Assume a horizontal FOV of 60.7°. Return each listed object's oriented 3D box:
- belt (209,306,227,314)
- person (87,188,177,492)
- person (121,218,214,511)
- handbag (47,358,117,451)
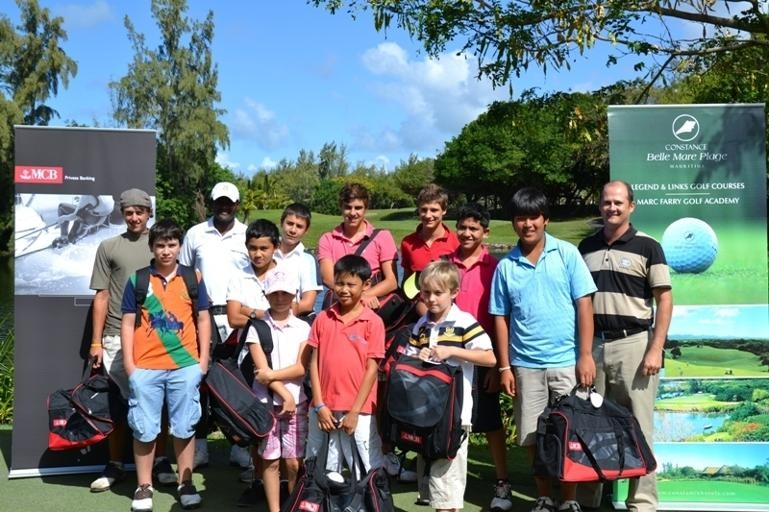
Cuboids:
[{"bbox_3d":[-1.725,0.550,6.825,0.142,0.057,0.105,1,-2,-16],"label":"belt"},{"bbox_3d":[-2.690,0.822,7.322,1.130,2.978,1.042,0,0,-21],"label":"person"},{"bbox_3d":[-2.043,1.017,6.732,1.011,2.551,0.974,1,-3,-8],"label":"person"},{"bbox_3d":[-3.058,1.549,6.682,0.720,0.750,0.326,-1,6,0],"label":"handbag"}]
